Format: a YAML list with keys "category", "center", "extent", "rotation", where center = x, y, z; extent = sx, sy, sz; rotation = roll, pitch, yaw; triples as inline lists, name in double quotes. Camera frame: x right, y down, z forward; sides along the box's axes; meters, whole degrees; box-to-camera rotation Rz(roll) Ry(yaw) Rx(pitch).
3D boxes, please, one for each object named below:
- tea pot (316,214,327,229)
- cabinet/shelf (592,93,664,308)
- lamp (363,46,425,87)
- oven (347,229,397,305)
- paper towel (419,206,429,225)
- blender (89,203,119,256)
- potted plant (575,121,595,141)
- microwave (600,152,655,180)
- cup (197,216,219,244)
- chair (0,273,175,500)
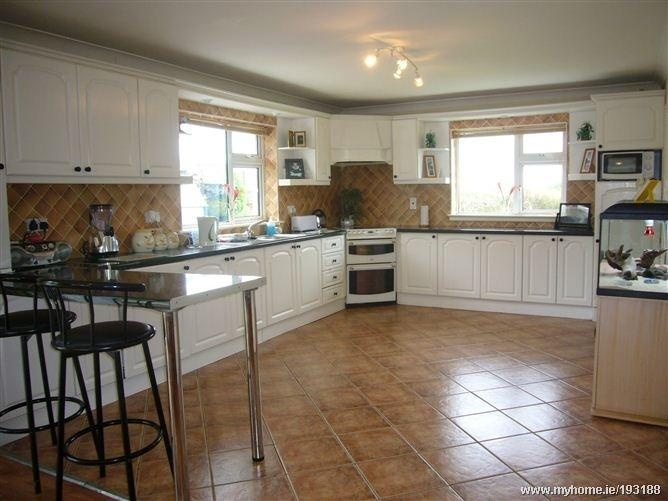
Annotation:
- category: "tea pot"
  center: [-0.181, -0.410, 6.783]
  extent: [0.098, 0.193, 0.335]
  rotation: [0, 11, 9]
- category: "cabinet/shelf"
  center: [3.262, -0.653, 5.457]
  extent: [0.739, 2.215, 0.411]
  rotation: [4, 12, 27]
- category: "lamp"
  center: [0.606, -1.756, 4.813]
  extent: [0.502, 0.314, 1.195]
  rotation: [1, 10, 10]
- category: "oven"
  center: [0.422, 0.220, 6.707]
  extent: [0.785, 1.043, 0.719]
  rotation: [-2, 2, -20]
- category: "paper towel"
  center: [1.310, -0.499, 6.944]
  extent: [0.142, 0.291, 0.151]
  rotation: [0, 11, 6]
- category: "blender"
  center: [-1.996, -0.176, 4.142]
  extent: [0.197, 0.428, 0.242]
  rotation: [-7, 12, -26]
- category: "potted plant"
  center: [3.106, -1.460, 5.953]
  extent: [0.203, 0.235, 0.292]
  rotation: [3, 12, 24]
- category: "microwave"
  center: [3.290, -0.939, 5.366]
  extent: [0.588, 0.377, 0.361]
  rotation: [1, 1, 28]
- category: "cup"
  center: [-1.287, -0.195, 4.864]
  extent: [0.270, 0.302, 0.193]
  rotation: [2, 4, 6]
- category: "chair"
  center: [-1.461, 0.770, 2.863]
  extent: [0.697, 1.311, 1.048]
  rotation: [-9, 13, -35]
